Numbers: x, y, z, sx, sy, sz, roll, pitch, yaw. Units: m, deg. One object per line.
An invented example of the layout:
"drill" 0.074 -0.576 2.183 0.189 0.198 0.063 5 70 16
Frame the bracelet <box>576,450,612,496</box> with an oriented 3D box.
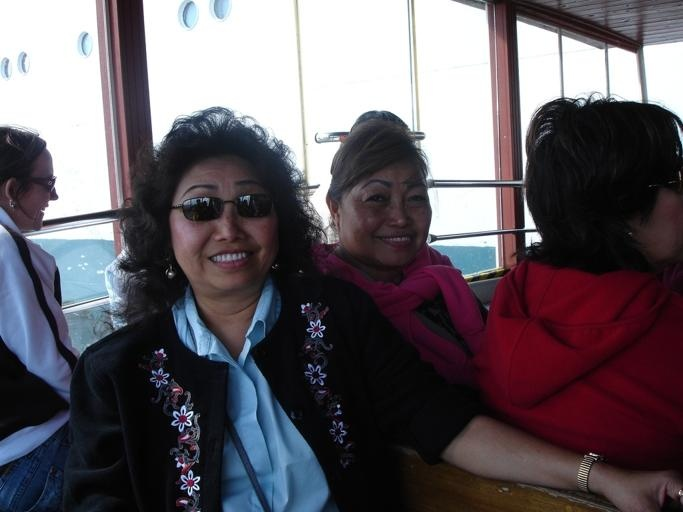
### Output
"bracelet" 0.634 0.540 1.533 0.060 0.097 0.097 9 40 39
